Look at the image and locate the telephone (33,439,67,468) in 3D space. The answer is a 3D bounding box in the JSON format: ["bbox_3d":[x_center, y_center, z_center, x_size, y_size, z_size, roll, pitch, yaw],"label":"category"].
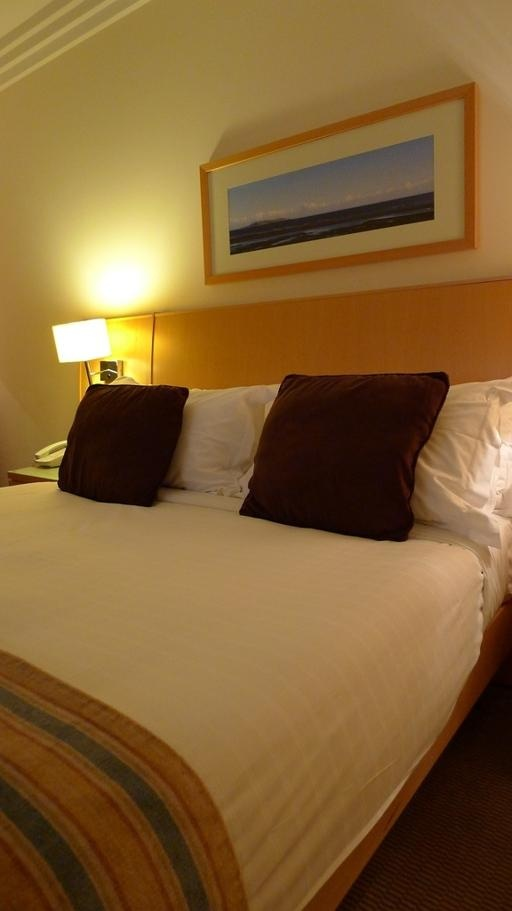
[{"bbox_3d":[-1.090,-0.012,3.218,0.102,0.072,0.148,-9,17,37],"label":"telephone"}]
